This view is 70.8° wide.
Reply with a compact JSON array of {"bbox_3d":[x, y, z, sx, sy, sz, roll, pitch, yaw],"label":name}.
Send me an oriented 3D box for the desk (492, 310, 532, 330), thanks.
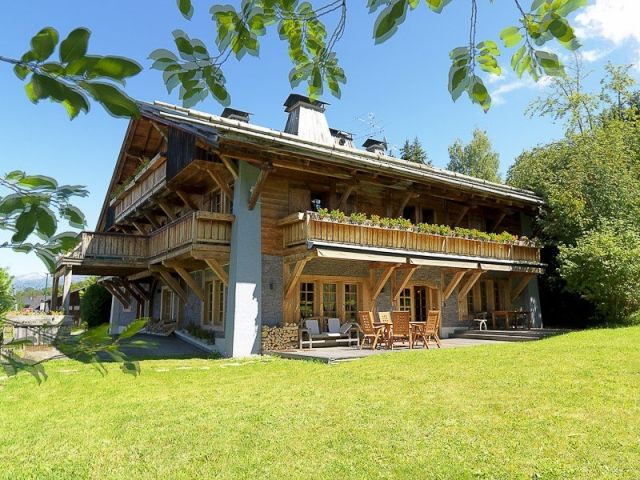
[{"bbox_3d":[8.064,3.304,18.891,1.464,0.844,3.523,-3,-5,24],"label":"desk"}]
